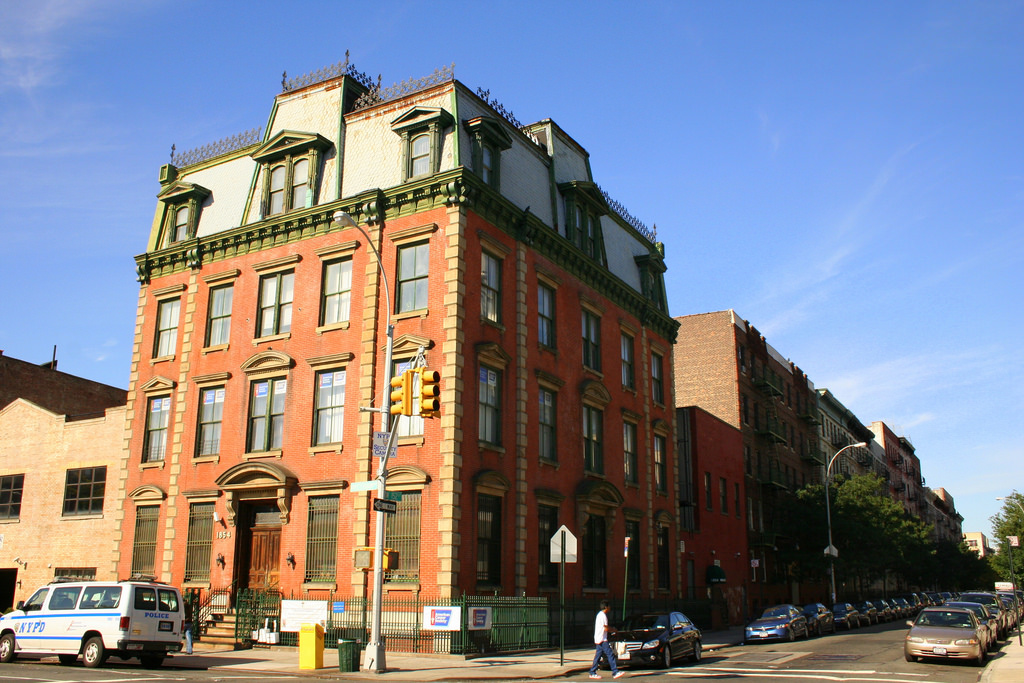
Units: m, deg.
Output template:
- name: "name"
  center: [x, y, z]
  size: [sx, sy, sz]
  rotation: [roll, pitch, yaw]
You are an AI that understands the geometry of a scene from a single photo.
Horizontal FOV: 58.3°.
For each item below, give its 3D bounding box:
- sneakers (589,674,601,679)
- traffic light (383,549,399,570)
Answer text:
- name: "sneakers"
  center: [2.827, 11.602, 31.904]
  size: [0.435, 0.192, 0.163]
  rotation: [-1, -19, 15]
- name: "traffic light"
  center: [-4.407, 7.699, 32.735]
  size: [0.431, 0.674, 0.438]
  rotation: [-3, -25, 1]
